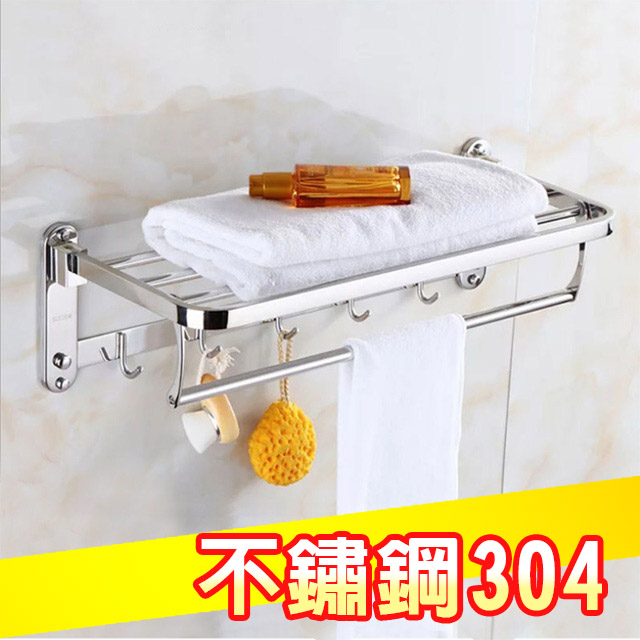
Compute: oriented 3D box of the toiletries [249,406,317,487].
[{"bbox_3d":[-0.047,0.147,0.872,0.081,0.111,0.045,1,9,9],"label":"toiletries"}]
